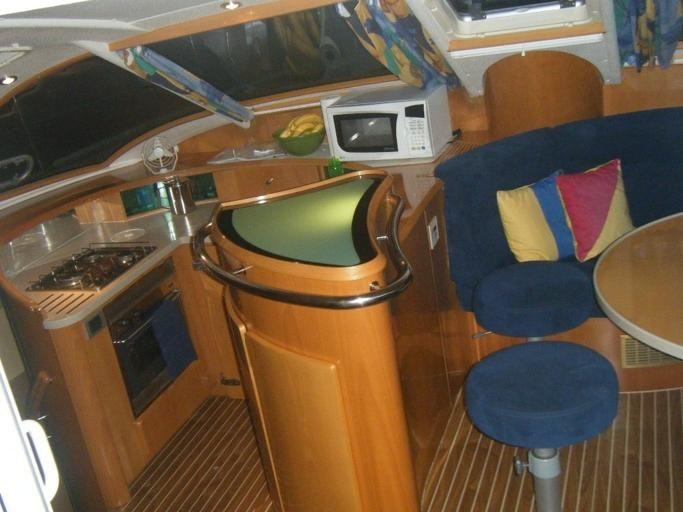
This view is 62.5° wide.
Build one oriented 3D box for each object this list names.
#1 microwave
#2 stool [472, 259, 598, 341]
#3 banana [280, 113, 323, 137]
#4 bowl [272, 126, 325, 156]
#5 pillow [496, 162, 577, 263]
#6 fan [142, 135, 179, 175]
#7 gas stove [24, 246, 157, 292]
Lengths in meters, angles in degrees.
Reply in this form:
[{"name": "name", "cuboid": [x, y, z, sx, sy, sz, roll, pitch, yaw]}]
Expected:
[{"name": "microwave", "cuboid": [0.253, -0.667, 3.019, 0.610, 0.376, 0.467, 3, 34, 33]}, {"name": "stool", "cuboid": [0.880, 0.191, 2.590, 0.516, 0.195, 0.442, -3, 20, 22]}, {"name": "banana", "cuboid": [-0.239, -0.777, 3.370, 0.217, 0.063, 0.165, -10, 3, 24]}, {"name": "bowl", "cuboid": [-0.238, -0.666, 3.341, 0.296, 0.139, 0.204, -11, 18, -3]}, {"name": "pillow", "cuboid": [0.944, -0.184, 2.743, 0.427, 0.392, 0.122, -15, -3, -10]}, {"name": "fan", "cuboid": [-1.028, -0.586, 3.309, 0.208, 0.212, 0.128, -12, -1, 20]}, {"name": "gas stove", "cuboid": [-1.180, 0.046, 2.688, 0.449, 0.092, 0.485, -4, 19, 18]}]
